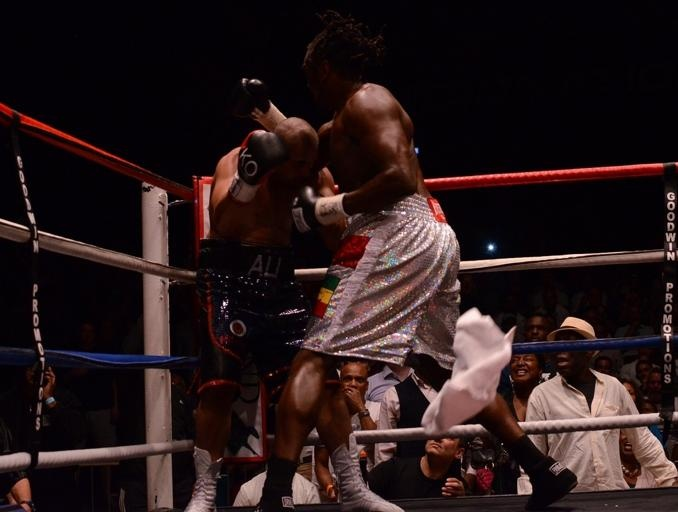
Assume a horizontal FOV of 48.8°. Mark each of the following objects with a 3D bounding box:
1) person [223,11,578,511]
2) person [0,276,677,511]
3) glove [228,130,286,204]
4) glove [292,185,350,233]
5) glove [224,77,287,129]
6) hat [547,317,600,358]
[{"bbox_3d":[0.230,-0.040,2.959,1.063,2.041,0.394,1,-8,-7],"label":"person"},{"bbox_3d":[-0.044,0.741,3.742,2.184,0.472,0.316,-7,-44,-8],"label":"person"},{"bbox_3d":[-0.302,-0.357,3.124,0.220,0.278,0.133,36,8,24],"label":"glove"},{"bbox_3d":[-0.086,-0.185,2.899,0.141,0.091,0.216,-23,10,-41],"label":"glove"},{"bbox_3d":[-0.376,-0.697,3.467,0.127,0.197,0.331,13,-15,44],"label":"glove"},{"bbox_3d":[1.367,0.451,4.403,0.250,0.092,0.211,18,-24,23],"label":"hat"}]
